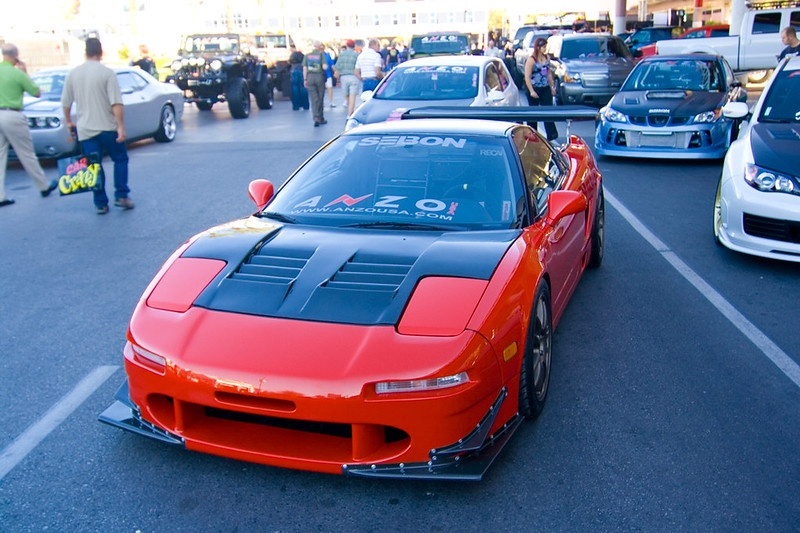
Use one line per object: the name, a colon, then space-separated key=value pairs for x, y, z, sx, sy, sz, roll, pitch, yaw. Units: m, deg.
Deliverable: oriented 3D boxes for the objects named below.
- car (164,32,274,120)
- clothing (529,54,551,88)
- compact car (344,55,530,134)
car: x=-7.109 y=-7.047 z=20.312 sx=2.747 sy=3.144 sz=6.283 roll=1 pitch=21 yaw=3
clothing: x=3.518 y=-4.926 z=13.620 sx=0.626 sy=0.897 sz=0.453 roll=-3 pitch=25 yaw=1
compact car: x=0.857 y=-3.773 z=11.097 sx=2.154 sy=1.576 sz=3.555 roll=9 pitch=26 yaw=24
